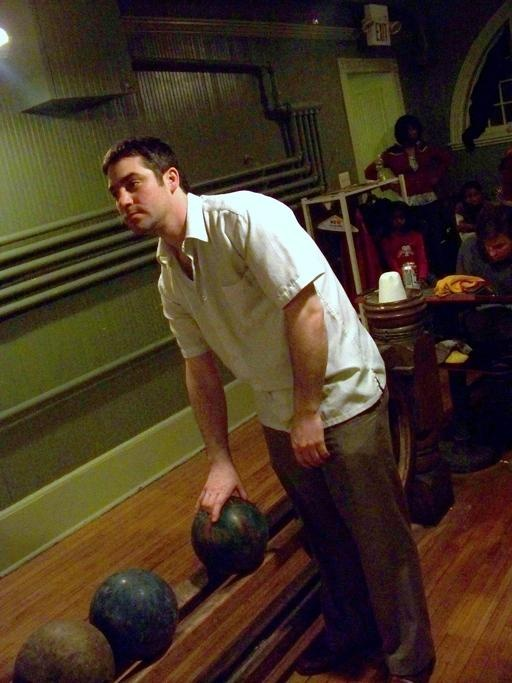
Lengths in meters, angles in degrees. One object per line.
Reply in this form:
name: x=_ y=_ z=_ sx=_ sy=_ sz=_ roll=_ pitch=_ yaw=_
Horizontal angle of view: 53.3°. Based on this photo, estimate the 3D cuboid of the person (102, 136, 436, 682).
person: x=0.119 y=0.412 z=1.745 sx=0.665 sy=2.232 sz=0.531 roll=-9 pitch=17 yaw=28

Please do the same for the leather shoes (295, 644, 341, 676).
leather shoes: x=0.264 y=1.387 z=2.213 sx=0.144 sy=0.061 sz=0.176 roll=-8 pitch=6 yaw=45
